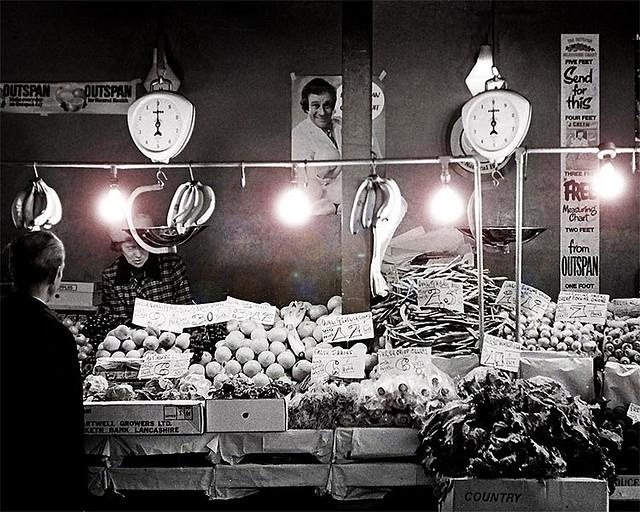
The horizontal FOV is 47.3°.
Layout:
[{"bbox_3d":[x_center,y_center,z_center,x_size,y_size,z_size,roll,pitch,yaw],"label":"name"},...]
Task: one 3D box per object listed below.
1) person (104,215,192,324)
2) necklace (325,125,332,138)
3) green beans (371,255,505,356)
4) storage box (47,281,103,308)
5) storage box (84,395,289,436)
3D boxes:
[{"bbox_3d":[-1.826,0.044,7.885,0.751,1.246,0.635,0,4,8],"label":"person"},{"bbox_3d":[0.085,-1.319,7.759,0.083,0.129,0.045,-1,4,-1],"label":"necklace"},{"bbox_3d":[1.080,0.505,7.531,1.074,1.050,0.110,1,-17,4],"label":"green beans"},{"bbox_3d":[-2.577,0.425,7.768,0.484,0.330,0.522,-1,-3,8],"label":"storage box"},{"bbox_3d":[-1.076,1.289,5.864,1.608,0.328,0.198,0,-17,6],"label":"storage box"}]
